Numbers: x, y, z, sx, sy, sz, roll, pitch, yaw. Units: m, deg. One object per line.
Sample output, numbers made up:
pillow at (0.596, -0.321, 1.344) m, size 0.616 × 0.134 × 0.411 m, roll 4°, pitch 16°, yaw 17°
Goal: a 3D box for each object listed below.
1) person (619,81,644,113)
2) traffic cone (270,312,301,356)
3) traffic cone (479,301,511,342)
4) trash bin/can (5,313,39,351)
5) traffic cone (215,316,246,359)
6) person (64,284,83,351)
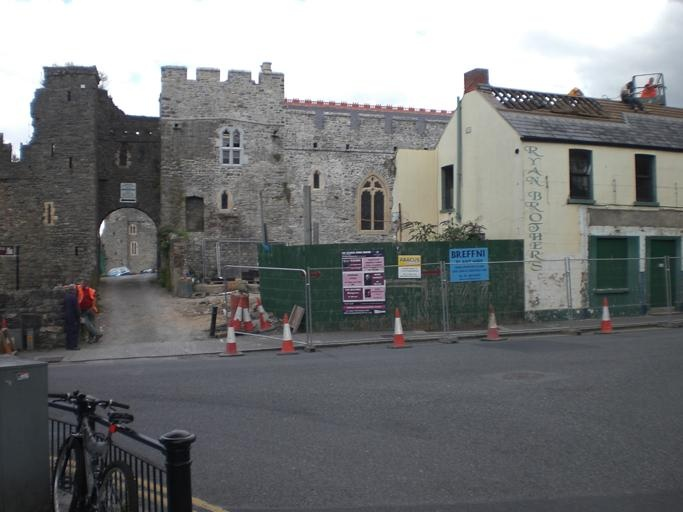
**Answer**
person at (10.591, -5.859, 34.936) m, size 0.757 × 0.915 × 1.046 m, roll -2°, pitch -1°, yaw 14°
traffic cone at (-1.709, 2.123, 25.763) m, size 0.892 × 1.170 × 0.872 m, roll -1°, pitch -3°, yaw -6°
traffic cone at (4.189, 1.918, 27.388) m, size 0.883 × 1.212 × 0.899 m, roll -2°, pitch -2°, yaw -11°
trash bin/can at (-8.749, 2.087, 26.274) m, size 0.978 × 0.944 × 0.562 m, roll 2°, pitch 7°, yaw 7°
traffic cone at (-3.062, 2.300, 26.828) m, size 0.851 × 1.086 × 0.838 m, roll 0°, pitch -5°, yaw -6°
person at (-7.486, 1.727, 26.773) m, size 0.460 × 1.696 × 0.791 m, roll -1°, pitch -1°, yaw -17°
